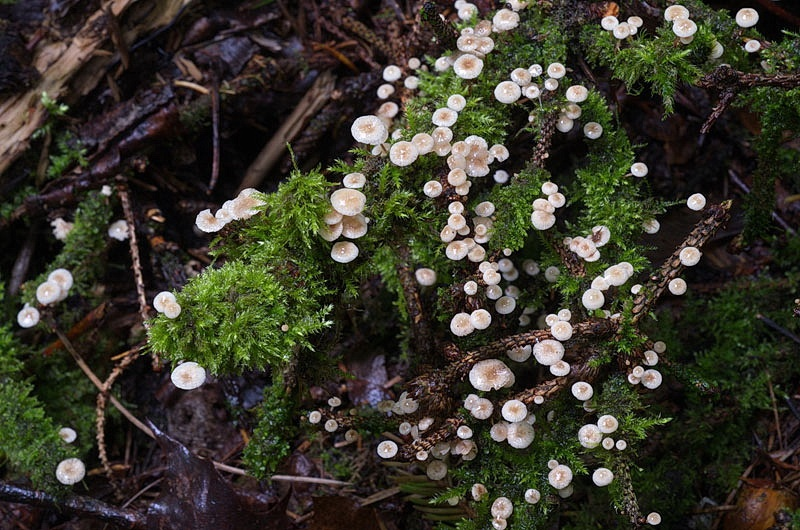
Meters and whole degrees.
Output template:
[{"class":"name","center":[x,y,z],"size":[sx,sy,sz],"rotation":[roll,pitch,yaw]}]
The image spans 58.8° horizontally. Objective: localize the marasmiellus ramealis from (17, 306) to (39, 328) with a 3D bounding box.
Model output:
[{"class":"marasmiellus ramealis","center":[-3.483,0.489,6.655],"size":[0.201,0.073,0.205],"rotation":[5,80,-8]}]

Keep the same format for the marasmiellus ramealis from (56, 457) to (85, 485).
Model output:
[{"class":"marasmiellus ramealis","center":[-3.039,1.876,6.509],"size":[0.216,0.136,0.227],"rotation":[-15,50,17]}]

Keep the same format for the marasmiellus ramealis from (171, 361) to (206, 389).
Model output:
[{"class":"marasmiellus ramealis","center":[-1.776,0.919,5.942],"size":[0.237,0.165,0.208],"rotation":[-45,49,-10]}]
